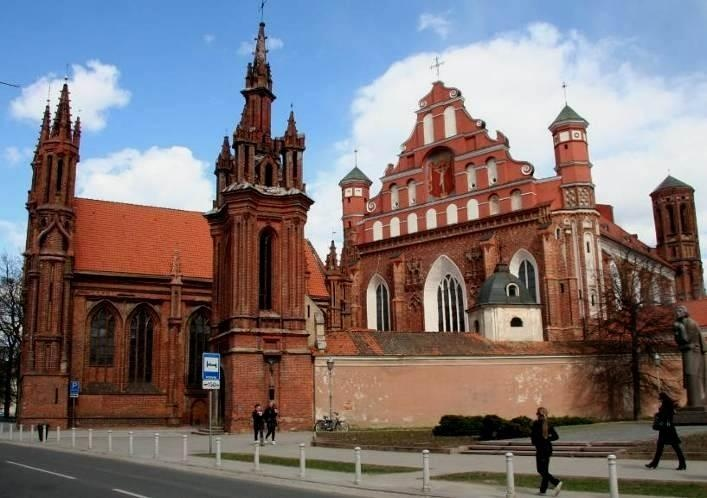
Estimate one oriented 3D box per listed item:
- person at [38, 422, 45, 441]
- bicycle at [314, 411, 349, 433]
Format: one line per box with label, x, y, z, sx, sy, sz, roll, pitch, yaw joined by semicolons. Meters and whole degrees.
person;-15.188;8.927;36.077;0.268;0.731;0.822;3;-12;-24
bicycle;-1.146;9.348;39.986;1.610;0.847;0.822;-3;-12;4
